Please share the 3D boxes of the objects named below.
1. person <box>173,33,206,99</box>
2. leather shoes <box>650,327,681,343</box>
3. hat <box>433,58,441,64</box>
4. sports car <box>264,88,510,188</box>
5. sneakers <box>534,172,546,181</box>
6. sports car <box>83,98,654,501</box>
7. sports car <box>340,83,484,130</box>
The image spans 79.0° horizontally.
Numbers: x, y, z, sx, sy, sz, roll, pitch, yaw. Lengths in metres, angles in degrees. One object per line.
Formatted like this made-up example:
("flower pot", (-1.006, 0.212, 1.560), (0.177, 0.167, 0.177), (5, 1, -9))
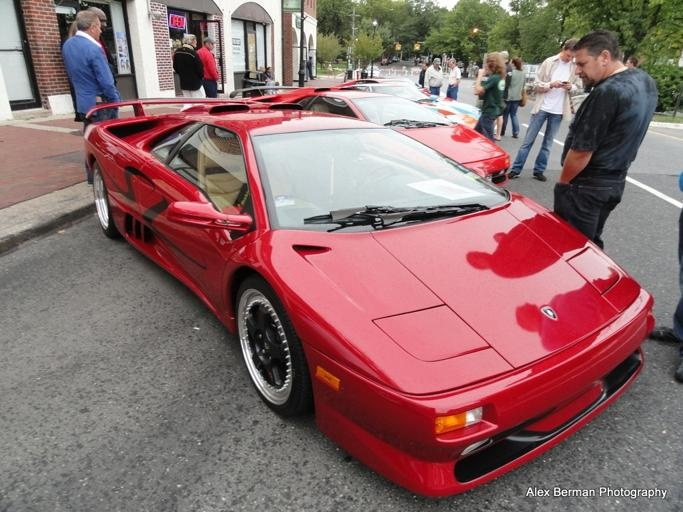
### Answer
("person", (-4.290, -5.215, 11.584), (0.789, 1.584, 0.722), (-8, 30, -14))
("leather shoes", (2.556, 0.609, 3.273), (0.226, 0.055, 0.121), (1, -3, -18))
("hat", (3.809, -7.649, 16.512), (0.289, 0.201, 0.428), (-20, 31, -18))
("sports car", (0.962, -2.063, 6.548), (3.418, 0.776, 2.037), (23, 35, 29))
("sneakers", (3.641, -1.453, 7.650), (0.119, 0.110, 0.290), (-22, 36, -6))
("sports car", (-0.487, 0.183, 3.276), (3.955, 0.919, 2.258), (30, 39, 34))
("sports car", (1.682, -3.512, 9.324), (2.679, 0.663, 1.742), (24, 39, 30))
